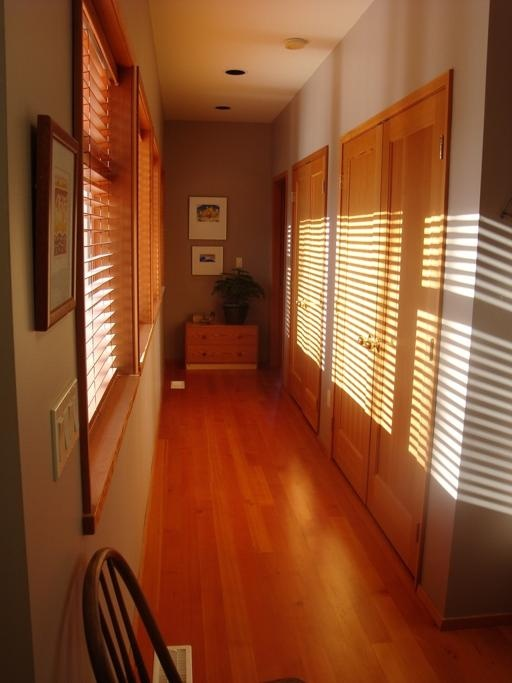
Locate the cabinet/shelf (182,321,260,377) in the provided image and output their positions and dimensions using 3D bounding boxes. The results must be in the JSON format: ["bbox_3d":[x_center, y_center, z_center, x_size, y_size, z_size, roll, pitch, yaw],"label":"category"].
[{"bbox_3d":[-0.422,0.080,6.135,0.867,0.563,0.186,0,5,-9],"label":"cabinet/shelf"}]

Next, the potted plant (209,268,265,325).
[{"bbox_3d":[-0.241,-0.546,6.316,0.397,0.789,0.539,1,2,-8],"label":"potted plant"}]

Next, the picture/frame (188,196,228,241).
[{"bbox_3d":[-0.613,-1.544,6.415,0.463,0.026,0.771,0,56,-7],"label":"picture/frame"}]
